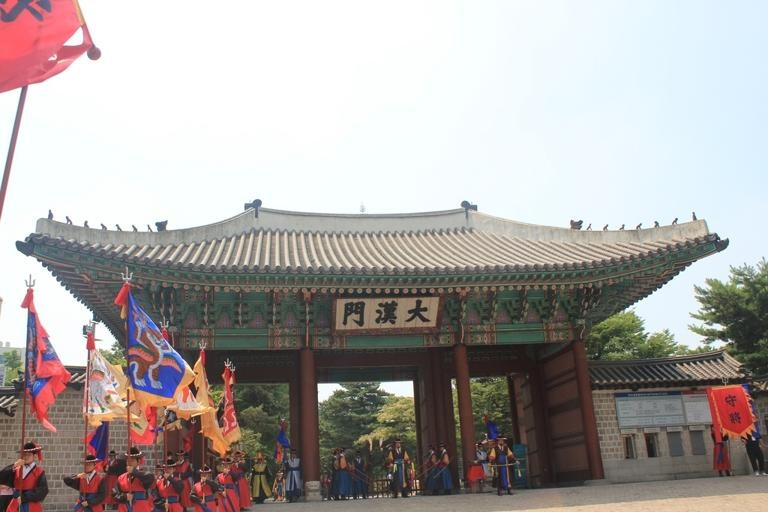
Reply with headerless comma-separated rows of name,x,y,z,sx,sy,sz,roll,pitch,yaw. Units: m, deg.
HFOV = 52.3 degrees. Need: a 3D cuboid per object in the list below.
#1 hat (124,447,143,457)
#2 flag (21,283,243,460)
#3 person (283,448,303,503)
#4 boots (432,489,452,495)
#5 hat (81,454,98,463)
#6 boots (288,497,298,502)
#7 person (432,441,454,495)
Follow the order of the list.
hat,-6.031,4.789,18.868,0.345,0.144,0.386,4,-5,-21
flag,-6.468,2.912,19.834,3.883,3.347,4.580,-2,-24,-4
person,-2.995,7.248,25.624,0.544,1.765,1.004,-1,-24,-7
boots,1.900,7.951,26.257,0.639,0.271,0.411,-10,-25,12
hat,-6.887,4.799,18.328,0.269,0.261,0.403,3,-25,-15
boots,-2.961,7.935,25.204,0.244,0.126,0.178,3,-14,-2
person,1.910,7.320,26.586,0.683,1.609,0.489,-15,-26,24
